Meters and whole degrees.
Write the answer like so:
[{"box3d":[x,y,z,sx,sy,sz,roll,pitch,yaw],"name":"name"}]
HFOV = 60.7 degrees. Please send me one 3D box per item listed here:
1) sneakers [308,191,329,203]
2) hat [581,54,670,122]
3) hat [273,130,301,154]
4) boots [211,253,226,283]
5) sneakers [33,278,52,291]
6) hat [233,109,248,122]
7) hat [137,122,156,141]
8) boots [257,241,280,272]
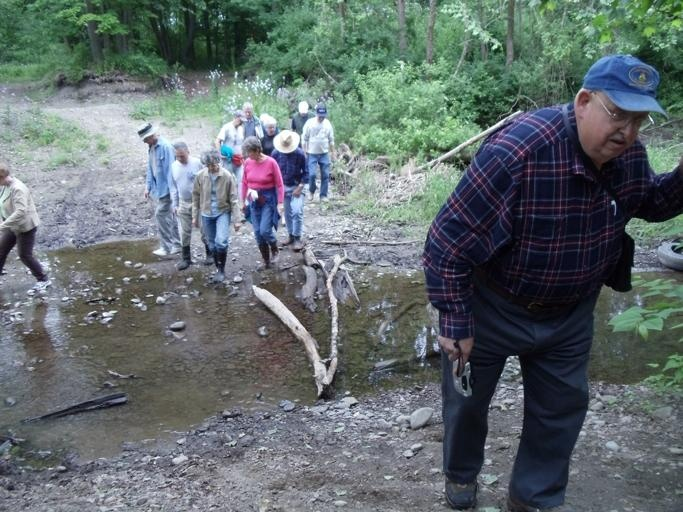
[{"box3d":[-0.580,-1.409,14.061,0.632,0.280,0.207,-5,11,28],"name":"sneakers"},{"box3d":[1.915,-1.147,4.011,0.384,0.279,0.530,-11,36,-39],"name":"hat"},{"box3d":[-0.952,-2.109,10.698,0.398,0.434,0.162,4,-5,8],"name":"hat"},{"box3d":[-2.105,0.210,10.054,0.237,0.543,0.490,7,33,-3],"name":"boots"},{"box3d":[-5.042,0.479,9.832,0.130,0.138,0.359,7,10,8],"name":"sneakers"},{"box3d":[-2.177,-3.056,12.586,0.284,0.371,0.268,-12,29,-33],"name":"hat"},{"box3d":[-3.339,-2.137,10.057,0.252,0.285,0.392,-5,16,-14],"name":"hat"},{"box3d":[-1.296,-0.008,10.428,0.296,0.487,0.545,-4,-20,13],"name":"boots"}]
